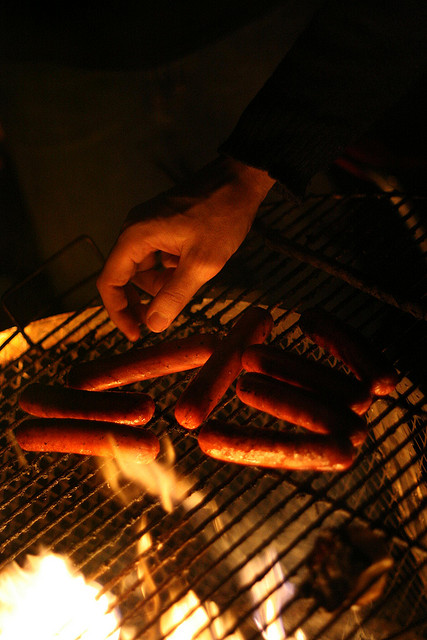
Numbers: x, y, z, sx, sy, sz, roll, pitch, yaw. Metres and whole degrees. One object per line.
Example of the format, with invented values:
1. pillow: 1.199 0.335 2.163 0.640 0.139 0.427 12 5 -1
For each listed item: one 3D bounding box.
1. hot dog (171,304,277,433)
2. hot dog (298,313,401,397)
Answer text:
1. hot dog: 0.034 0.154 2.139 0.576 0.159 0.154 -47 -48 -21
2. hot dog: 0.445 0.120 2.124 0.124 0.433 0.107 1 -63 -37
